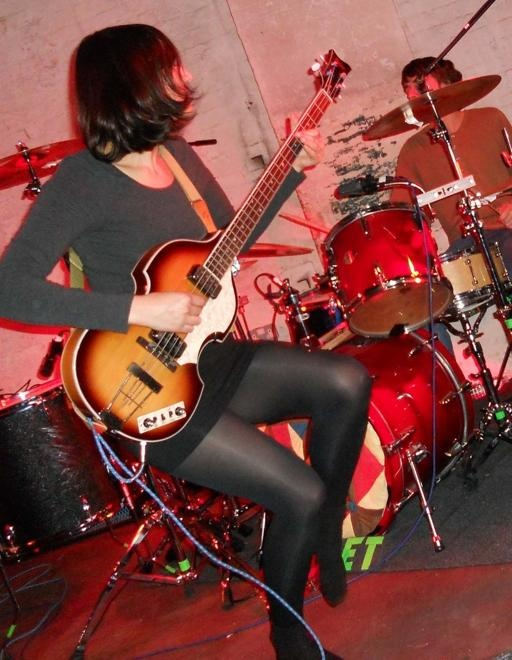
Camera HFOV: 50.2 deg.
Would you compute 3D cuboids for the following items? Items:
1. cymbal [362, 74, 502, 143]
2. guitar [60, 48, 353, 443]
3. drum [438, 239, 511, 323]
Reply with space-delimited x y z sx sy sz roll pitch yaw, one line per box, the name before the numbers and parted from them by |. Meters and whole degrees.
cymbal | 0.858 -1.083 2.771 0.534 0.208 0.676 -16 5 -32
guitar | -0.056 -0.197 1.310 0.120 0.349 0.980 -14 38 54
drum | 0.962 -0.229 2.478 0.419 0.260 0.395 -16 -10 -3
